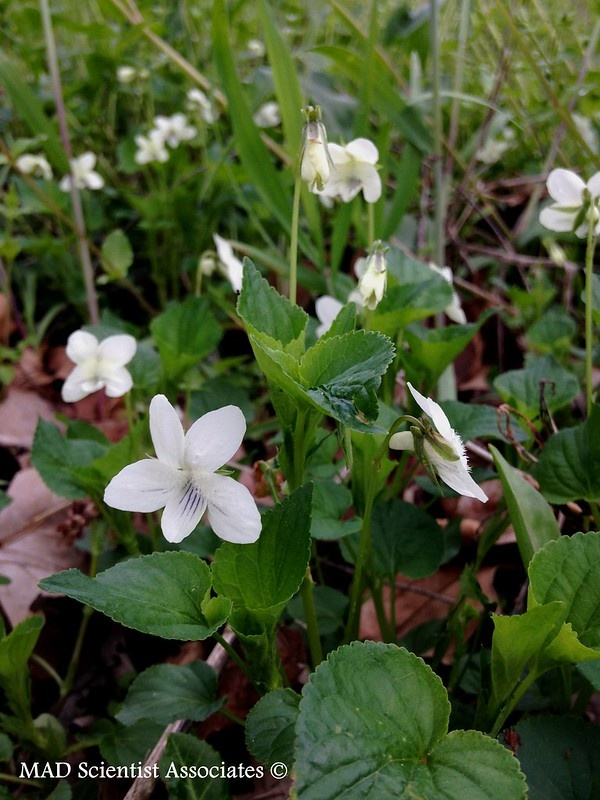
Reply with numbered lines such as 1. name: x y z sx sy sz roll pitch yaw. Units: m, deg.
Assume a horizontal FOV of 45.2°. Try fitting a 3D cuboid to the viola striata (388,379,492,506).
1. viola striata: 0.181 0.061 0.997 0.135 0.121 0.162 5 4 13
